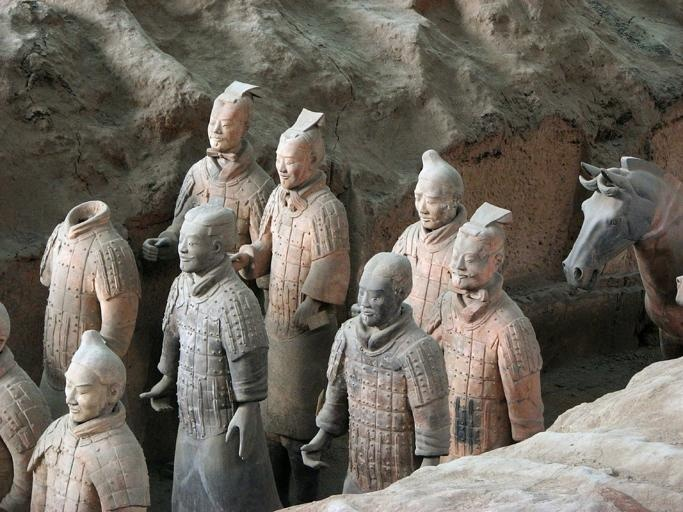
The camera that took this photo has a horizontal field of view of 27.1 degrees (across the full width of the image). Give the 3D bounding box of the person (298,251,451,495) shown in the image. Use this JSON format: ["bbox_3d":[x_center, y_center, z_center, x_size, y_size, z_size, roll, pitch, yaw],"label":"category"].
[{"bbox_3d":[0.197,0.662,7.949,0.788,1.353,0.317,-3,4,28],"label":"person"}]
